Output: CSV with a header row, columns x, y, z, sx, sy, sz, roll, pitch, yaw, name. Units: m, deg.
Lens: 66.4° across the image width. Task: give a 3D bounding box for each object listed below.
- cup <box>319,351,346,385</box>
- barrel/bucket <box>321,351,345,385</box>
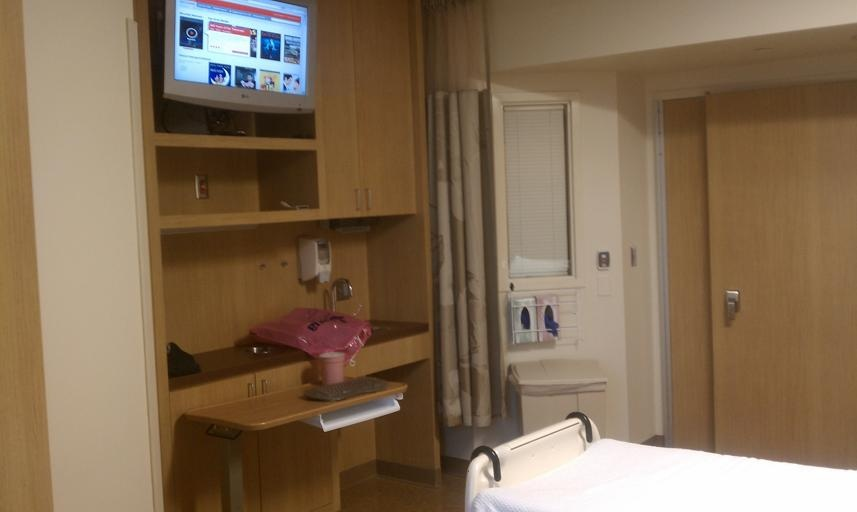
x,y,z,sx,sy,sz,roll,pitch,yaw,name
-0.519,0.616,3.569,0.165,0.167,0.163,0,-1,0,cup
-0.523,0.619,3.581,0.132,0.171,0.203,-3,4,-9,barrel/bucket
